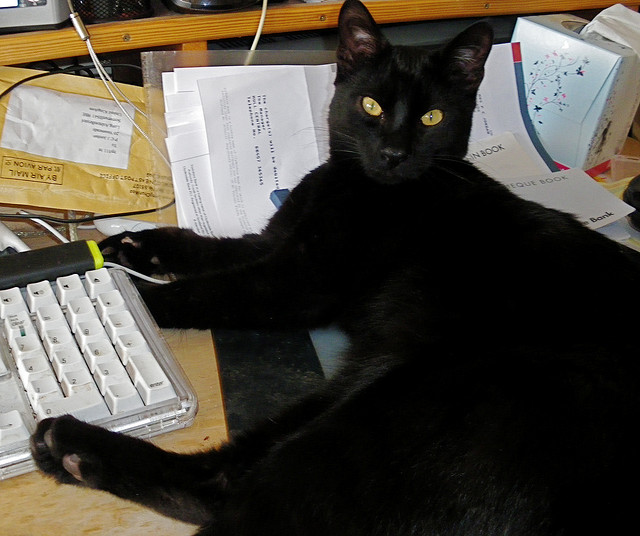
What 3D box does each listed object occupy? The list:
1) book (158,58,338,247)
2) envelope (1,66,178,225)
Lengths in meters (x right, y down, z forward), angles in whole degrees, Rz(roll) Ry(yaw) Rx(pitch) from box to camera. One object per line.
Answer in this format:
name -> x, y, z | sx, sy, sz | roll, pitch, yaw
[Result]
book -> -0.120, -0.185, 0.990 | 0.475, 0.091, 0.275 | -3, 92, -14
envelope -> -0.384, -0.212, 1.051 | 0.349, 0.235, 0.188 | 4, 32, -9
